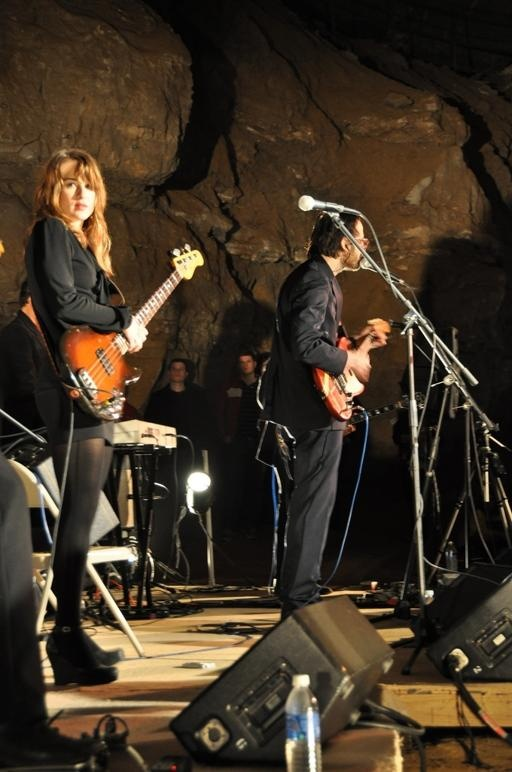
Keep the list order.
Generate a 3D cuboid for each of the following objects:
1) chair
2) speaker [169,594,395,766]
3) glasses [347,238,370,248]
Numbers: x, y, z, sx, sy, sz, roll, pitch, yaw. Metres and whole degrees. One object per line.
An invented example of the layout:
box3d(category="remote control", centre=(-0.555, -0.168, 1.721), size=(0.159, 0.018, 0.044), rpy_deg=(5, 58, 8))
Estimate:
box3d(category="chair", centre=(-0.652, 0.610, 3.004), size=(0.554, 0.550, 0.433), rpy_deg=(5, 5, 5))
box3d(category="speaker", centre=(0.049, 0.639, 1.825), size=(0.365, 0.274, 0.425), rpy_deg=(-28, -17, 21))
box3d(category="glasses", centre=(0.384, -0.543, 3.020), size=(0.075, 0.019, 0.069), rpy_deg=(6, 0, 21))
